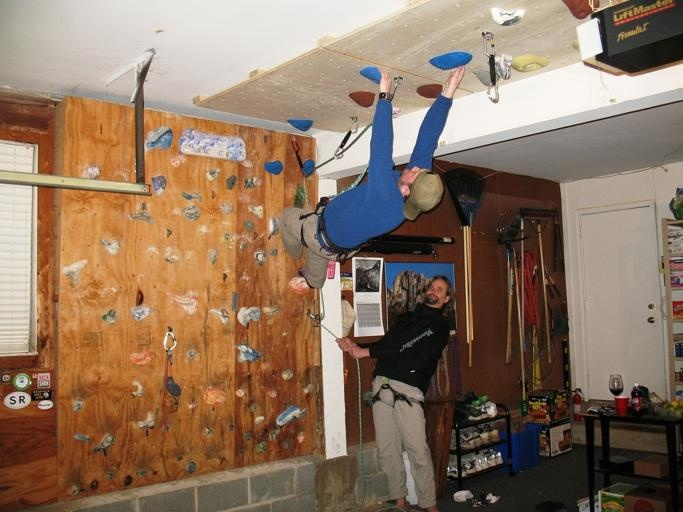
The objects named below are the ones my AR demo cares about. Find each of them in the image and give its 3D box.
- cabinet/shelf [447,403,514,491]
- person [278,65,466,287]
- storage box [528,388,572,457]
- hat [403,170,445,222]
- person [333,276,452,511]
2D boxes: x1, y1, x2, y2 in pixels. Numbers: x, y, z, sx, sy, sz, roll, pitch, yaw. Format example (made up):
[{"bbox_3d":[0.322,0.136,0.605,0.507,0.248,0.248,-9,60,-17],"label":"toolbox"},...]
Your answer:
[{"bbox_3d":[1.466,2.033,5.931,0.761,0.683,0.349,-4,-16,-21],"label":"cabinet/shelf"},{"bbox_3d":[0.159,-0.662,4.574,0.768,1.046,2.053,16,-26,-34],"label":"person"},{"bbox_3d":[2.451,1.980,6.652,0.643,0.734,0.279,2,-6,-31],"label":"storage box"},{"bbox_3d":[0.510,-0.361,3.580,0.111,0.305,0.204,37,45,25],"label":"hat"},{"bbox_3d":[0.557,1.297,5.276,0.935,2.081,0.570,-2,-5,10],"label":"person"}]
